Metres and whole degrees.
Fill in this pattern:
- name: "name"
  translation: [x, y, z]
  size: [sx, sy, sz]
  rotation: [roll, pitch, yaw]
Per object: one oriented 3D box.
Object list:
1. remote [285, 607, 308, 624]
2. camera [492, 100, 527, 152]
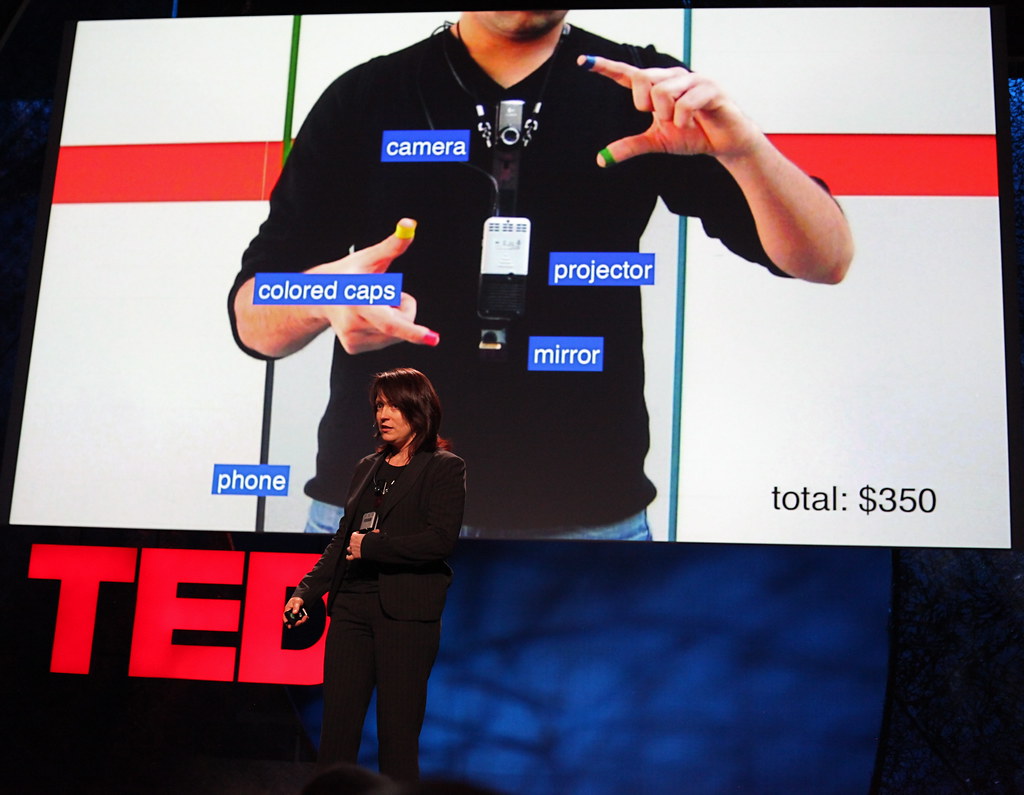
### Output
- name: "remote"
  translation: [-0.696, 0.691, 2.989]
  size: [0.056, 0.060, 0.017]
  rotation: [-10, 37, 4]
- name: "camera"
  translation: [-0.026, -1.161, 4.027]
  size: [0.157, 0.182, 0.300]
  rotation: [1, 85, -6]
